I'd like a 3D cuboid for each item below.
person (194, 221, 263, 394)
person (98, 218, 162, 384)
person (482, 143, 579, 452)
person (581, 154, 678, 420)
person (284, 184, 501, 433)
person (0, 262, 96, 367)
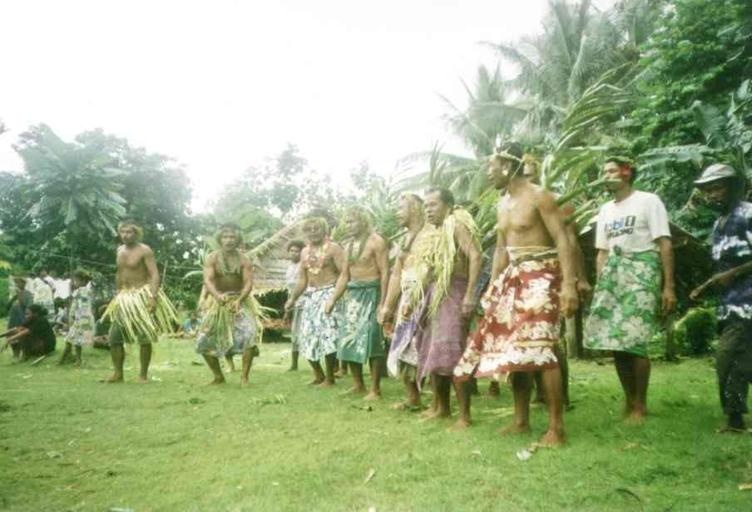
[{"bbox_3d":[-1.837,0.568,7.885,0.753,1.901,0.610,-3,9,-6],"label":"person"},{"bbox_3d":[-3.074,0.594,8.026,0.727,2.019,0.769,-5,9,-18],"label":"person"},{"bbox_3d":[1.401,0.271,5.699,0.648,2.523,1.072,-5,9,-22],"label":"person"},{"bbox_3d":[2.334,0.268,5.904,0.755,2.348,0.812,2,10,23],"label":"person"},{"bbox_3d":[0.546,0.440,6.455,0.684,2.233,1.171,-6,10,-26],"label":"person"},{"bbox_3d":[-4.992,0.983,9.855,1.248,1.344,1.472,-5,9,-23],"label":"person"}]
